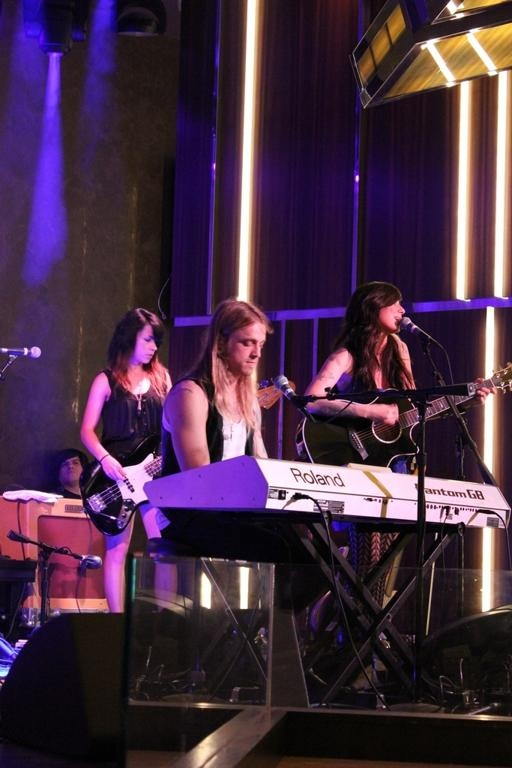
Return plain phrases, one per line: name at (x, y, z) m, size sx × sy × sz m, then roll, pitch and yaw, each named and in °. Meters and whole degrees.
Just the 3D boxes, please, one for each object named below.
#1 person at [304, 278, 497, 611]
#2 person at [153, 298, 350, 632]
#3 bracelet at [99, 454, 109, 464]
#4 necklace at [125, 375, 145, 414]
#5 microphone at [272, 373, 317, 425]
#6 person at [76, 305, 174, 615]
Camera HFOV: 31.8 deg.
person at (0.589, 0.358, 4.039) m, size 0.667 × 1.662 × 0.382 m, roll 4°, pitch 24°, yaw 8°
person at (0.092, 0.353, 2.838) m, size 0.641 × 1.177 × 0.464 m, roll -11°, pitch -26°, yaw 29°
bracelet at (-0.734, 0.364, 4.344) m, size 0.041 × 0.036 × 0.042 m, roll -22°, pitch 37°, yaw -23°
necklace at (-0.637, 0.065, 4.761) m, size 0.121 × 0.187 × 0.045 m, roll 19°, pitch -34°, yaw -40°
microphone at (0.185, 0.089, 4.391) m, size 0.075 × 0.105 × 0.333 m, roll -20°, pitch 49°, yaw -16°
person at (-0.744, 0.447, 4.965) m, size 0.476 × 1.882 × 0.489 m, roll 2°, pitch 34°, yaw -17°
